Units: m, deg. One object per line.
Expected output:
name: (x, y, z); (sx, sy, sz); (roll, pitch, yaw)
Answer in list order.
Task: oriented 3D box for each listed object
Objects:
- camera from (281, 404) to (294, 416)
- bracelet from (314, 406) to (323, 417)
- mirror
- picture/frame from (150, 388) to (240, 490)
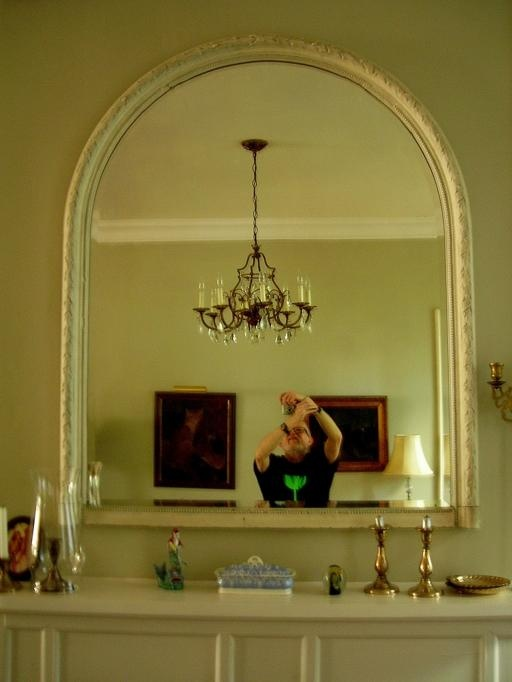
camera: (0.103, 0.222, 2.897); (0.046, 0.037, 0.026); (1, 0, 2)
bracelet: (0.205, 0.224, 2.894); (0.022, 0.024, 0.021); (5, -4, 44)
mirror: (0.087, -0.146, 2.950); (1.486, 1.924, 0.079); (-1, -7, -2)
picture/frame: (-0.203, 0.317, 2.889); (0.269, 0.333, 0.020); (3, -30, -10)
